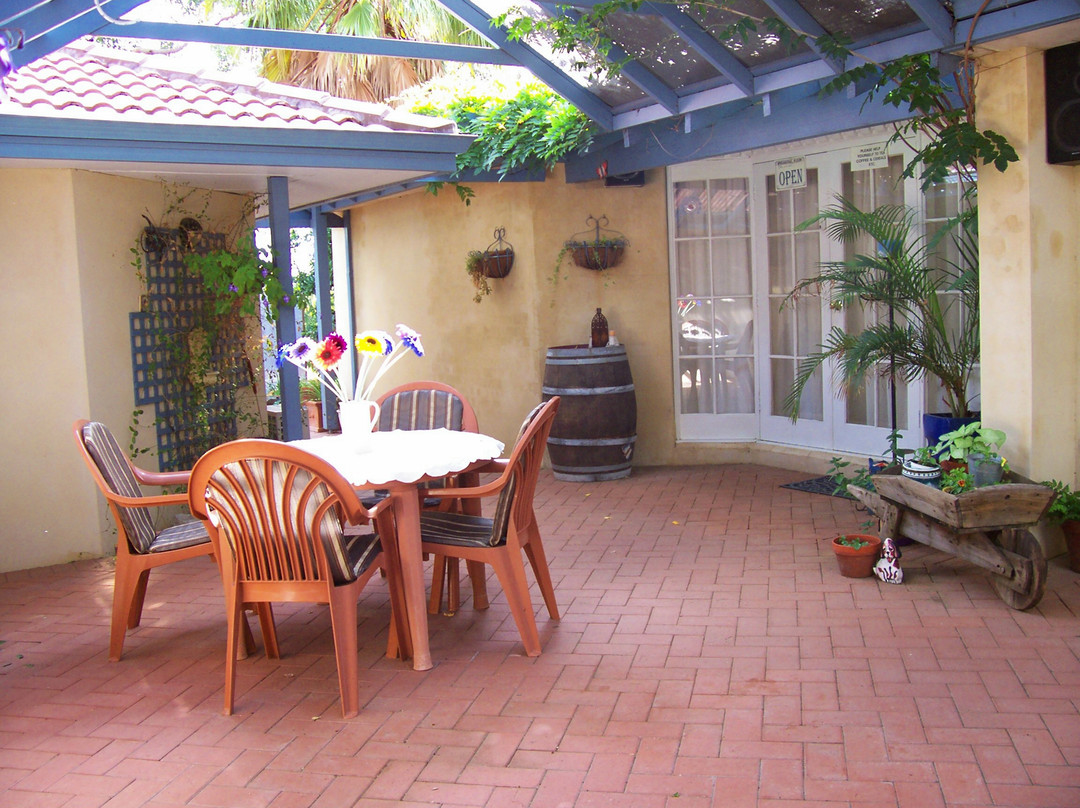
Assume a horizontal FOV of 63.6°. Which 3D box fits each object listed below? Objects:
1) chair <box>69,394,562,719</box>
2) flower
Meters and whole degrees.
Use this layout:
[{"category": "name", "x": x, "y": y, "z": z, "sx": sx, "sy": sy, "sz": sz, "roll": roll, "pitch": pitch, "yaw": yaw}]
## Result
[{"category": "chair", "x": -0.660, "y": 0.354, "z": 2.530, "sx": 0.968, "sy": 0.523, "sz": 1.006, "roll": 1, "pitch": 6, "yaw": 27}, {"category": "flower", "x": -0.643, "y": -0.108, "z": 2.867, "sx": 0.389, "sy": 0.189, "sz": 0.429, "roll": -1, "pitch": -14, "yaw": -38}]
